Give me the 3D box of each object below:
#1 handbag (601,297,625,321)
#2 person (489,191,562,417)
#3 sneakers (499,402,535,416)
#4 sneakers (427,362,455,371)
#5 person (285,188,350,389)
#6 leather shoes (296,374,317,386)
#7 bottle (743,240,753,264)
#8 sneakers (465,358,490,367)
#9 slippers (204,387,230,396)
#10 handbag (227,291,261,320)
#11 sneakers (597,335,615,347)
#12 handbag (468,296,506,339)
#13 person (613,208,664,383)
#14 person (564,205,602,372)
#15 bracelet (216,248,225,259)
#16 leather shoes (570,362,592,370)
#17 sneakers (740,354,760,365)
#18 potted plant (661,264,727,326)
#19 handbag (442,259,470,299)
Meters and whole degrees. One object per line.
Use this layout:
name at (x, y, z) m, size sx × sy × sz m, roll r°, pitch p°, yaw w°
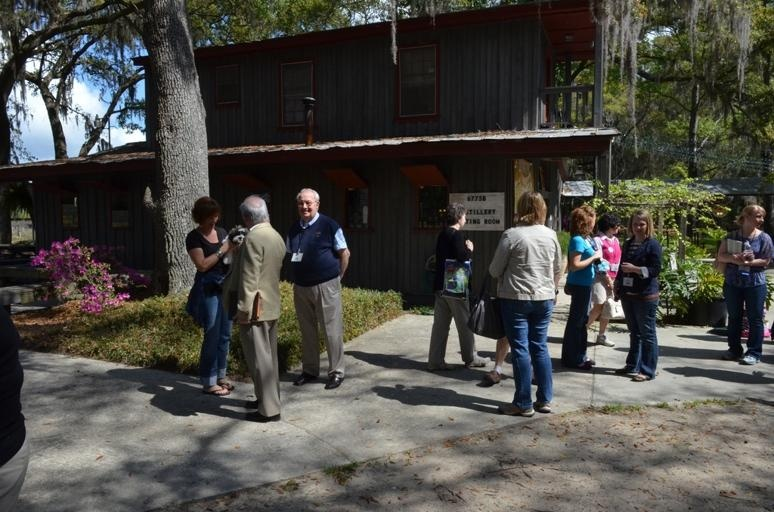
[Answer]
handbag at (4.017, 0.936, 11.619) m, size 0.180 × 0.334 × 0.517 m, roll -5°, pitch -5°, yaw 32°
person at (1.969, 0.689, 9.227) m, size 0.856 × 3.117 × 0.507 m, roll -1°, pitch 6°, yaw -2°
sneakers at (1.836, 2.174, 9.190) m, size 0.456 × 0.233 × 0.195 m, roll 5°, pitch 0°, yaw 9°
sneakers at (0.889, 1.839, 10.697) m, size 0.428 × 0.196 × 0.158 m, roll -4°, pitch 3°, yaw -7°
person at (-1.057, 0.506, 10.064) m, size 0.908 × 3.042 × 0.486 m, roll -1°, pitch 6°, yaw -5°
leather shoes at (-1.283, 1.957, 10.219) m, size 0.400 × 0.170 × 0.136 m, roll 8°, pitch -15°, yaw -39°
bottle at (6.088, -0.041, 10.994) m, size 0.172 × 0.399 × 0.161 m, roll -1°, pitch 6°, yaw 0°
sneakers at (1.527, 1.798, 10.964) m, size 0.429 × 0.189 × 0.175 m, roll -4°, pitch 6°, yaw -18°
slippers at (-2.557, 2.020, 9.777) m, size 0.256 × 0.100 × 0.171 m, roll 0°, pitch 1°, yaw 15°
handbag at (-1.973, 0.685, 9.049) m, size 0.357 × 0.398 × 0.138 m, roll 3°, pitch -1°, yaw 12°
sneakers at (4.109, 1.582, 12.100) m, size 0.383 × 0.205 × 0.154 m, roll 0°, pitch 4°, yaw 22°
handbag at (1.475, 0.895, 9.530) m, size 0.645 × 0.757 × 0.376 m, roll -1°, pitch -4°, yaw 32°
person at (4.008, 0.631, 10.408) m, size 0.618 × 2.679 × 0.483 m, roll 3°, pitch 7°, yaw 33°
person at (3.232, 0.529, 10.798) m, size 0.562 × 2.683 × 0.884 m, roll 2°, pitch 7°, yaw 26°
bracelet at (-2.432, -0.030, 9.511) m, size 0.086 × 0.120 × 0.046 m, roll 21°, pitch 15°, yaw -5°
leather shoes at (3.213, 1.831, 10.777) m, size 0.316 × 0.096 × 0.119 m, roll -4°, pitch 6°, yaw 9°
sneakers at (6.190, 1.760, 11.050) m, size 0.369 × 0.145 × 0.132 m, roll -1°, pitch 6°, yaw -4°
potted plant at (6.331, 0.839, 13.775) m, size 1.216 × 1.171 × 1.292 m, roll 0°, pitch -4°, yaw 2°
handbag at (1.121, 0.520, 10.463) m, size 0.402 × 0.456 × 0.788 m, roll -1°, pitch 48°, yaw 8°
